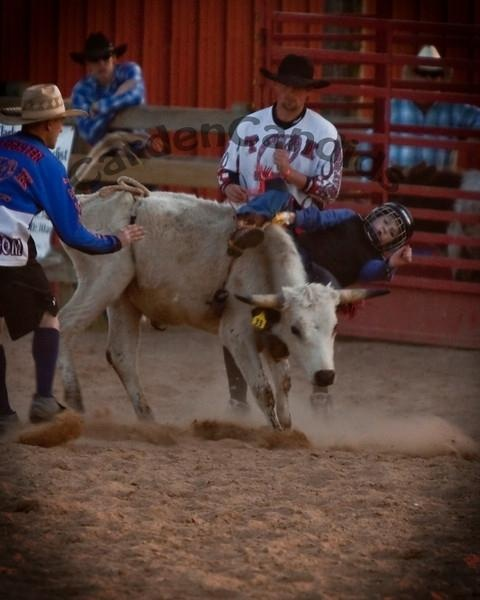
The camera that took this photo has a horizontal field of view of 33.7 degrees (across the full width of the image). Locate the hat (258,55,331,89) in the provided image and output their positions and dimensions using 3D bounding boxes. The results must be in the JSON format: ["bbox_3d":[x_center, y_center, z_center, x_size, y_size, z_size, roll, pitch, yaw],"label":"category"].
[{"bbox_3d":[0.350,-1.428,4.991,0.421,0.227,0.359,7,11,-2],"label":"hat"}]

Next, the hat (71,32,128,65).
[{"bbox_3d":[-1.121,-2.021,6.317,0.421,0.147,0.430,-13,2,7],"label":"hat"}]

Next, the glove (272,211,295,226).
[{"bbox_3d":[0.266,-0.486,4.802,0.170,0.063,0.056,3,45,-44],"label":"glove"}]

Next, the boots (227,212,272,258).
[{"bbox_3d":[0.042,-0.367,4.722,0.140,0.135,0.371,18,-30,-17],"label":"boots"}]
